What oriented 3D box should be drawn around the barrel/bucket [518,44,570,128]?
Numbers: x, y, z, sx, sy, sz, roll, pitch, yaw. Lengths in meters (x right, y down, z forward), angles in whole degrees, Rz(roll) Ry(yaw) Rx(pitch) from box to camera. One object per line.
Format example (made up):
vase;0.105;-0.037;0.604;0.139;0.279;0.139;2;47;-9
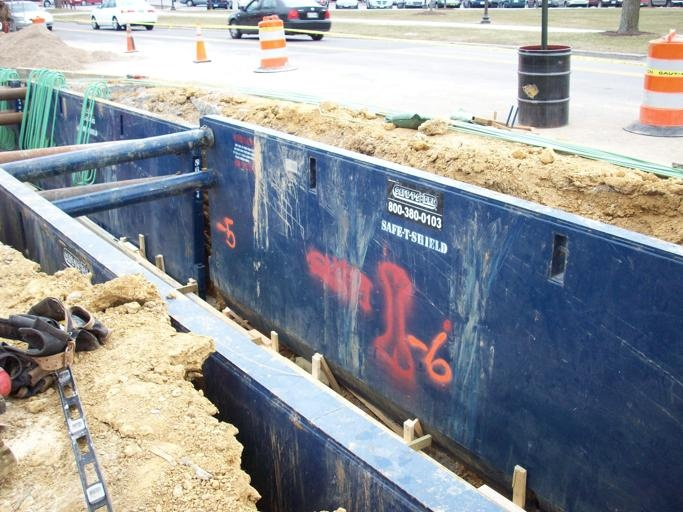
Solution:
barrel/bucket;3.598;-3.049;9.728;0.891;1.345;0.887;-6;25;3
